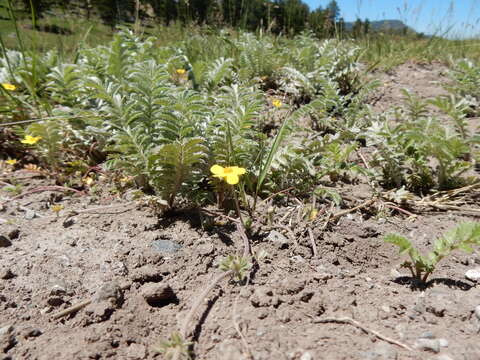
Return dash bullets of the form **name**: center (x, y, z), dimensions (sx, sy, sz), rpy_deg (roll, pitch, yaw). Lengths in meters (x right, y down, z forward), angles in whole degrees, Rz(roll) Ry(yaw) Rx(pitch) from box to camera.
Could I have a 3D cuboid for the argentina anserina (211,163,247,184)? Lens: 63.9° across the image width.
- **argentina anserina**: center (-0.060, -0.014, 2.459), dimensions (0.186, 0.055, 0.186), rpy_deg (23, 29, 34)
